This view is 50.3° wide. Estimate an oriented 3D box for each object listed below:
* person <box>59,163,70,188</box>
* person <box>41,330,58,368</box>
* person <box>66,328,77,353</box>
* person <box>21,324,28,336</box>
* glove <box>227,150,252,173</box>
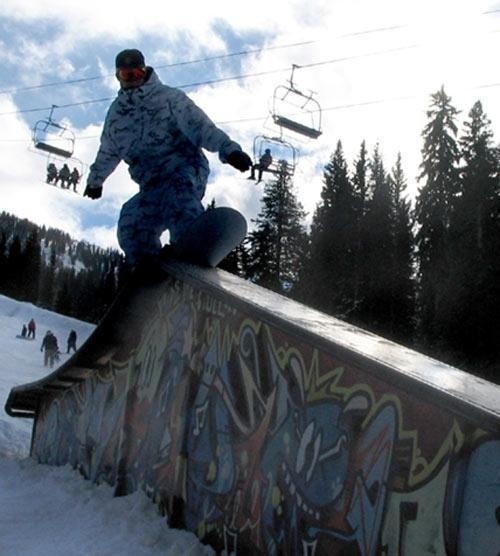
[{"bbox_3d":[-8.213,-4.545,23.367,0.437,0.909,0.817,-4,-2,-25],"label":"person"},{"bbox_3d":[-7.981,2.851,21.144,0.534,1.217,1.155,-4,-2,-23],"label":"person"},{"bbox_3d":[-9.463,3.291,28.044,0.492,1.095,2.422,-4,-3,-20],"label":"person"},{"bbox_3d":[-11.020,2.549,25.660,0.284,0.556,1.190,-4,-3,-26],"label":"person"},{"bbox_3d":[-0.072,-0.764,3.465,0.166,0.151,0.220,-6,-1,0],"label":"glove"}]
